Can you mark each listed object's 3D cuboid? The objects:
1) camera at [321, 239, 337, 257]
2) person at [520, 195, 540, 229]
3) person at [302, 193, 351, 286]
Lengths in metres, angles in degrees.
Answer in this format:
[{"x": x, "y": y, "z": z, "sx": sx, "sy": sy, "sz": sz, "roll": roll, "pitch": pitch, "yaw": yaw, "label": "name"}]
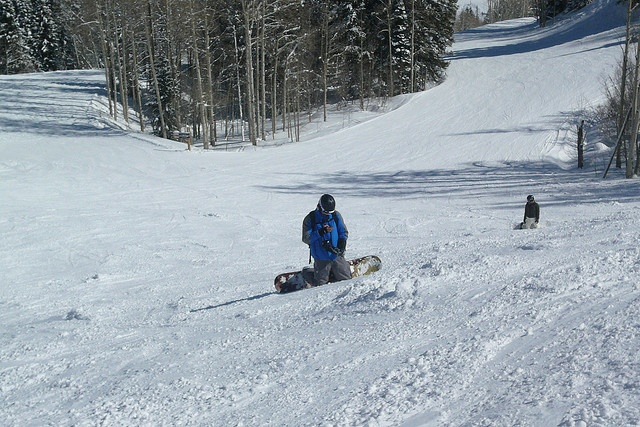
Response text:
[{"x": 0.296, "y": 1.119, "z": 20.303, "sx": 0.333, "sy": 0.506, "sz": 0.255, "roll": -47, "pitch": -14, "yaw": -15, "label": "camera"}, {"x": 8.427, "y": -0.050, "z": 25.283, "sx": 0.680, "sy": 1.252, "sz": 1.356, "roll": 1, "pitch": 13, "yaw": 18, "label": "person"}, {"x": 0.238, "y": 1.182, "z": 20.716, "sx": 1.495, "sy": 3.648, "sz": 1.092, "roll": -8, "pitch": 22, "yaw": -7, "label": "person"}]
